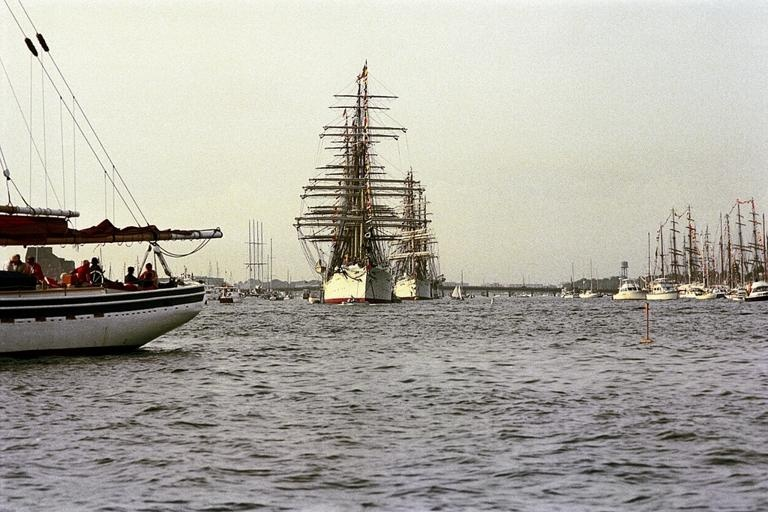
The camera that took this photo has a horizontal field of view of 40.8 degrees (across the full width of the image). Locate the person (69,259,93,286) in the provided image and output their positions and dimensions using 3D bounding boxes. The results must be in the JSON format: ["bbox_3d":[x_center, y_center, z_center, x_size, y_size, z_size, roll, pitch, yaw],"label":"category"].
[{"bbox_3d":[-12.863,0.784,43.703,0.911,1.037,0.337,-1,2,-35],"label":"person"}]

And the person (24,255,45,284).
[{"bbox_3d":[-14.584,0.619,43.183,0.793,1.161,1.433,0,2,-21],"label":"person"}]
